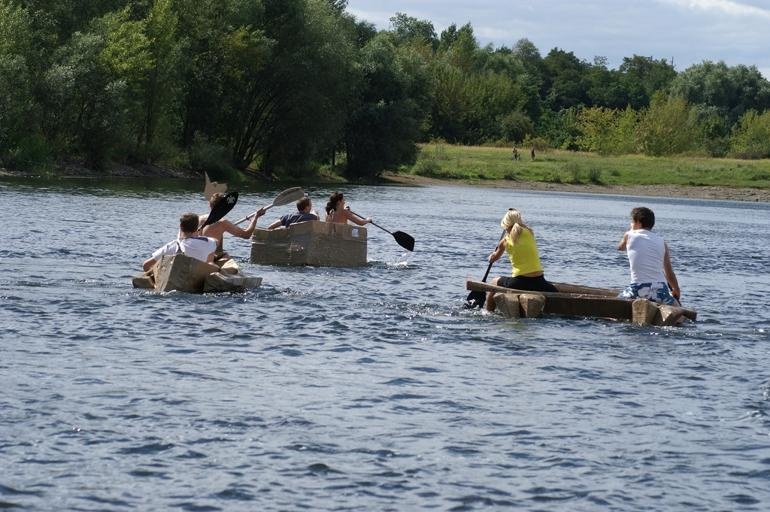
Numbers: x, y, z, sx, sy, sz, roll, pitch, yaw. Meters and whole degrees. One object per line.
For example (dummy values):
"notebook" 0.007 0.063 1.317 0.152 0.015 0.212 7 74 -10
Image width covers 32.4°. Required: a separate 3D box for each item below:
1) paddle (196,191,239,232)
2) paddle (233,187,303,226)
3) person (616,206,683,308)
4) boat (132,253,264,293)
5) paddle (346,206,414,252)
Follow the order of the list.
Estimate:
"paddle" -4.750 -1.137 36.765 0.532 0.264 2.087 28 -47 -27
"paddle" -3.809 -1.420 40.983 3.950 0.302 0.554 -25 -61 41
"person" 6.869 -0.039 34.400 1.369 2.523 0.900 4 5 26
"boat" -5.014 0.413 35.118 2.807 1.061 2.140 0 -2 -1
"paddle" -0.191 -0.950 45.859 2.673 0.427 0.114 26 -5 -19
